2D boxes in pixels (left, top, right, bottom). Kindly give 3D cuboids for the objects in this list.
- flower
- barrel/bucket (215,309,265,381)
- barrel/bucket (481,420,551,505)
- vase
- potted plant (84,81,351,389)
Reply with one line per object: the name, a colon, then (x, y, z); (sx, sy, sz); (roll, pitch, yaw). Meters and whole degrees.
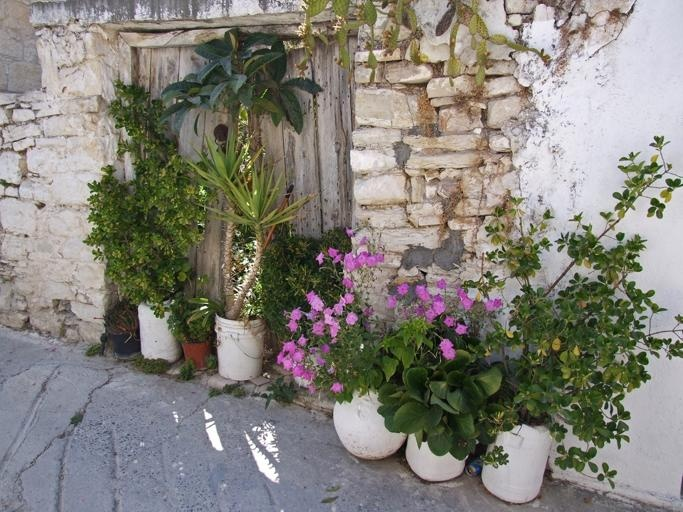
flower: (0.208, 0.407, 2.963); (1.056, 0.654, 0.981); (2, -4, -7)
barrel/bucket: (-0.744, 0.640, 3.806); (0.408, 0.445, 0.411); (0, 8, 0)
barrel/bucket: (0.927, 1.096, 2.708); (0.318, 0.518, 0.313); (4, 29, -2)
vase: (0.139, 0.986, 3.086); (0.376, 0.407, 0.398); (-1, 8, 4)
potted plant: (-1.315, -0.187, 4.391); (1.539, 2.225, 0.785); (6, 10, 12)
